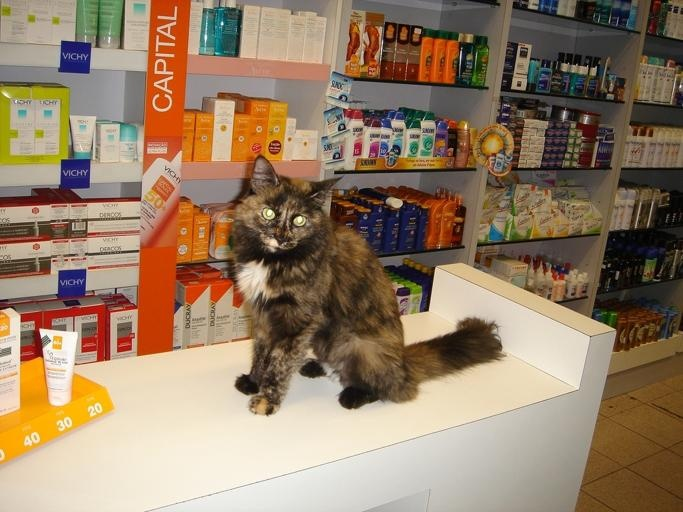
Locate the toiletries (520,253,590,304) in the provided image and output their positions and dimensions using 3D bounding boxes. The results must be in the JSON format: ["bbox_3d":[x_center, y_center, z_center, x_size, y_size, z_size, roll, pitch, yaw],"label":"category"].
[{"bbox_3d":[1.714,0.190,3.979,0.372,0.328,0.199,7,15,-35],"label":"toiletries"}]

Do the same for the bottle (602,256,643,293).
[{"bbox_3d":[2.475,0.153,4.419,0.291,0.263,0.155,-1,22,-13],"label":"bottle"}]
